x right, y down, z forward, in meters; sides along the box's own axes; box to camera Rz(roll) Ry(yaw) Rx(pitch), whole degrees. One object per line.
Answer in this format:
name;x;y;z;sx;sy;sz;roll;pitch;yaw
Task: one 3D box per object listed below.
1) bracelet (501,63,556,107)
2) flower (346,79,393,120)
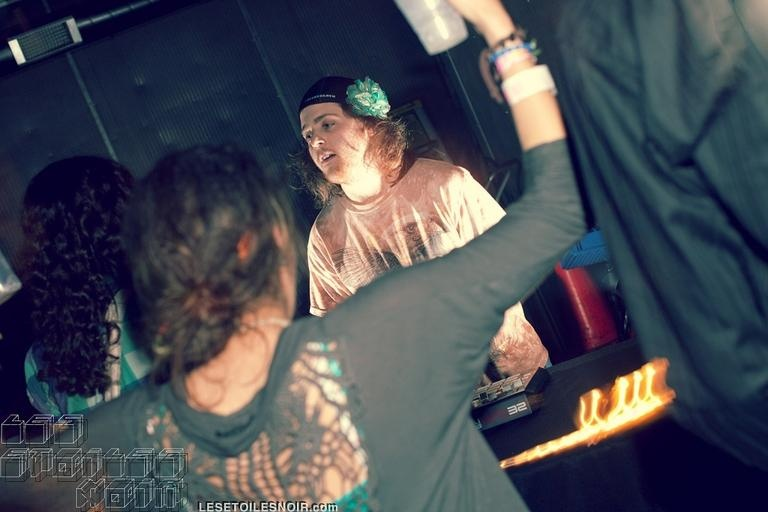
bracelet;0.378;-0.452;1.556;0.106;0.078;0.109;-27;0;41
flower;-0.084;-0.948;3.592;0.210;0.106;0.235;21;-26;6
